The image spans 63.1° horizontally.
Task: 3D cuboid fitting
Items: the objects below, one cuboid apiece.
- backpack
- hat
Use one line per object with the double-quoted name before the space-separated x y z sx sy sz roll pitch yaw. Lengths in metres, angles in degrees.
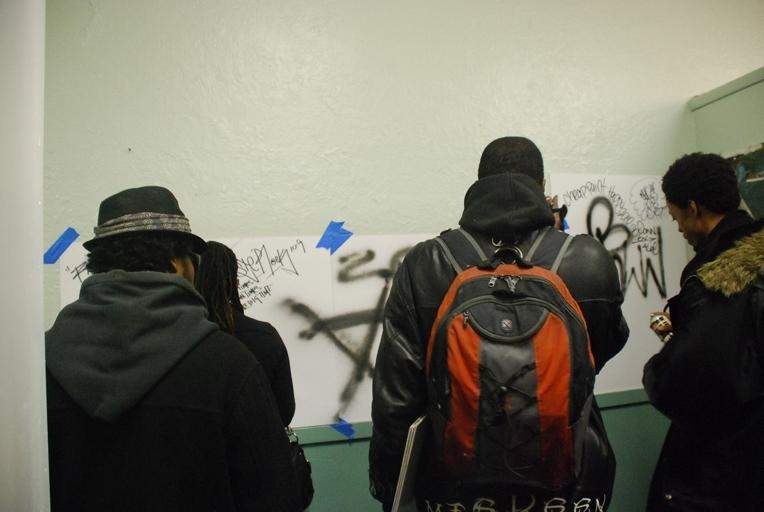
"backpack" 0.543 0.501 2.658 0.709 1.185 0.396 -1 3 13
"hat" -0.988 -0.147 2.536 0.461 0.226 0.399 -6 -3 -9
